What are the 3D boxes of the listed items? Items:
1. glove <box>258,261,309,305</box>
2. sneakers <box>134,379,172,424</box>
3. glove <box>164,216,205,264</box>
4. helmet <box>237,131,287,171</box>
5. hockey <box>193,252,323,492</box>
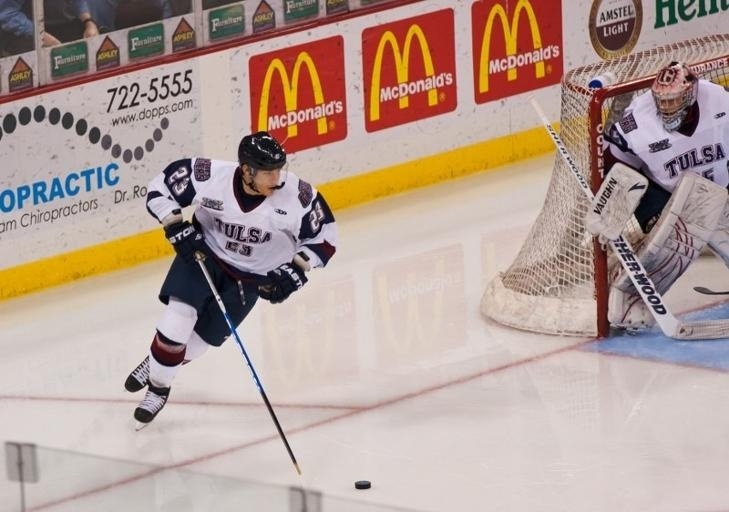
[{"bbox_3d":[-0.390,0.138,5.014,0.246,0.093,0.159,-34,70,-11],"label":"glove"},{"bbox_3d":[-1.048,0.708,5.160,0.096,0.112,0.288,24,20,-6],"label":"sneakers"},{"bbox_3d":[-0.878,-0.079,5.005,0.154,0.082,0.205,-38,87,-21],"label":"glove"},{"bbox_3d":[-0.475,-0.474,4.868,0.207,0.198,0.162,16,41,29],"label":"helmet"},{"bbox_3d":[-0.547,0.594,5.112,0.090,0.086,1.248,-11,59,-38],"label":"hockey"}]
